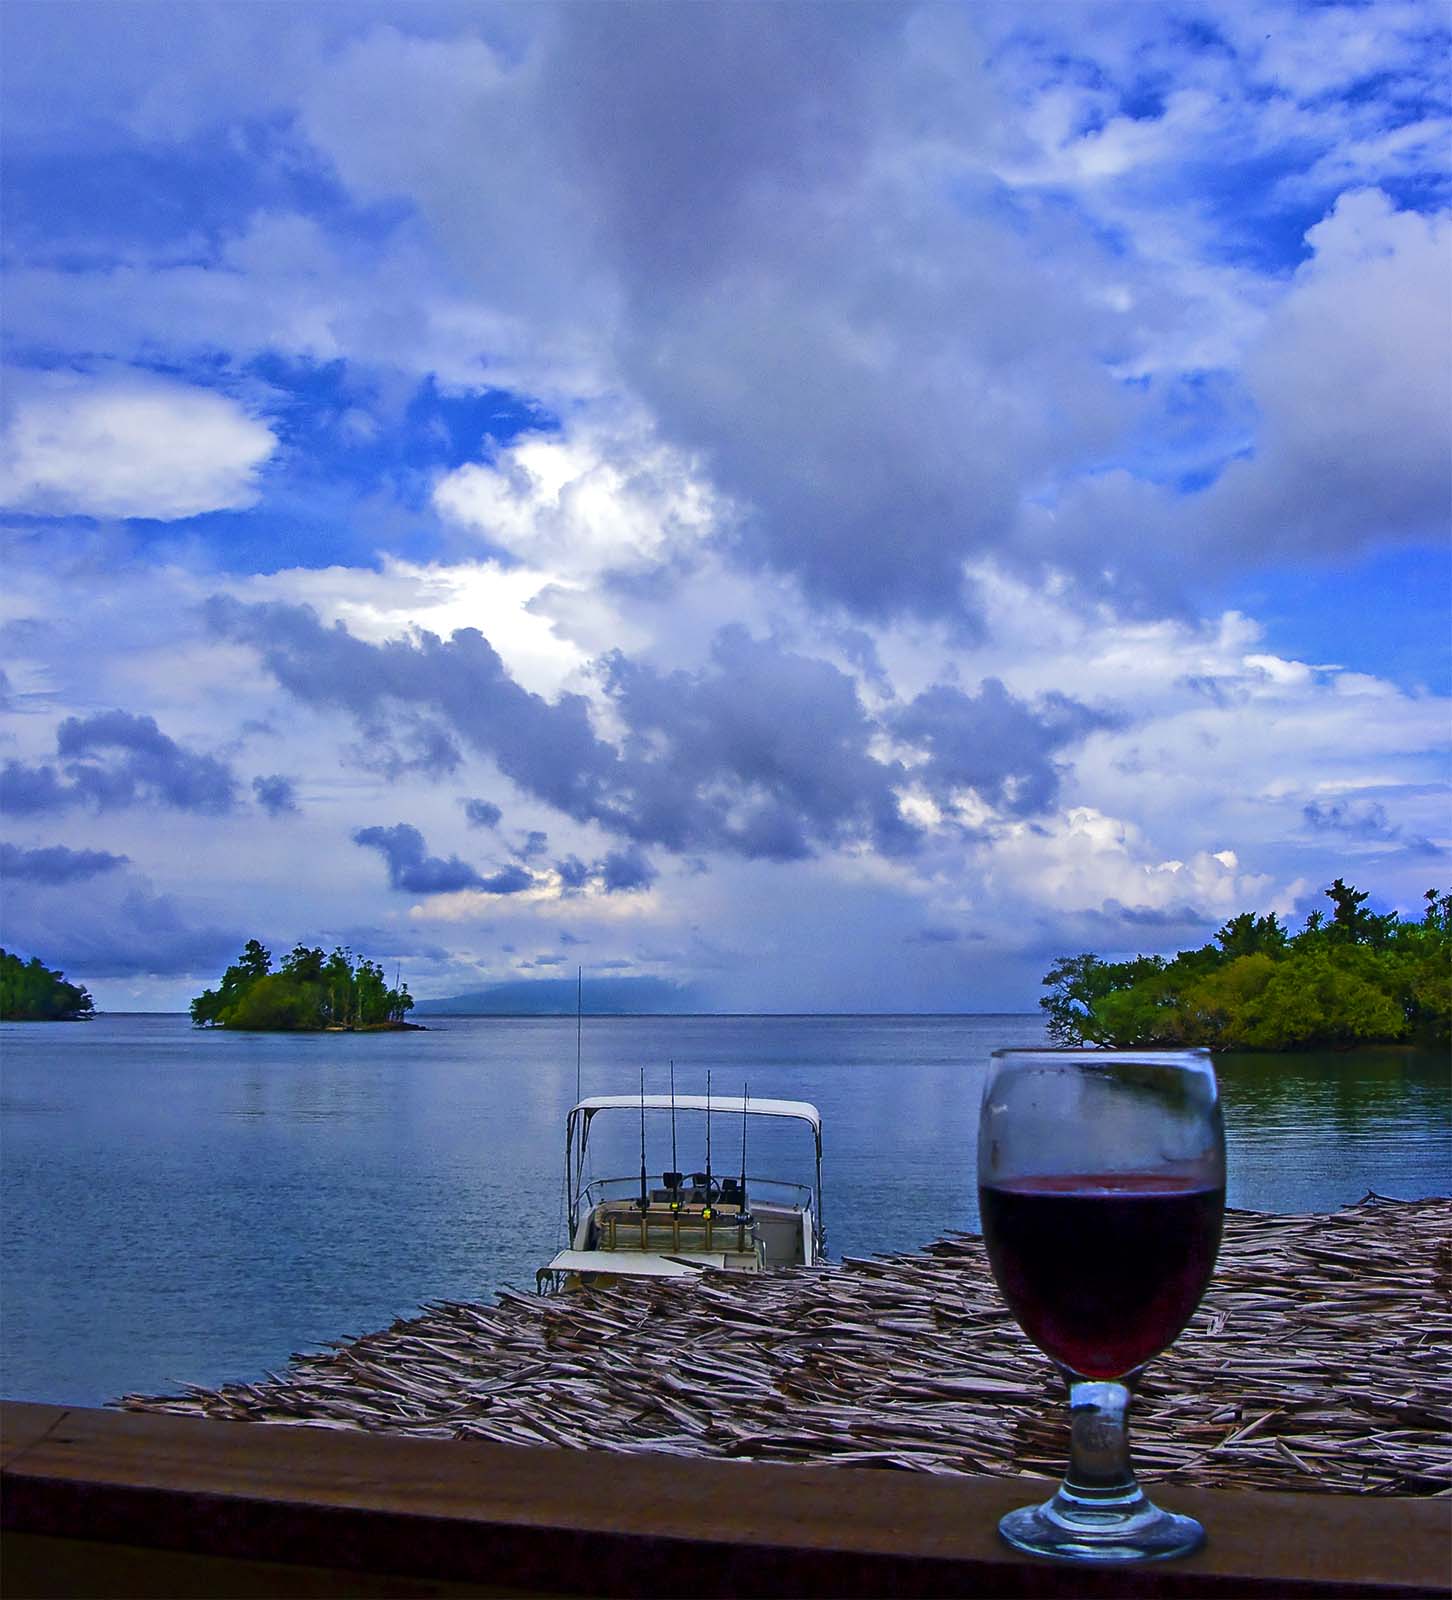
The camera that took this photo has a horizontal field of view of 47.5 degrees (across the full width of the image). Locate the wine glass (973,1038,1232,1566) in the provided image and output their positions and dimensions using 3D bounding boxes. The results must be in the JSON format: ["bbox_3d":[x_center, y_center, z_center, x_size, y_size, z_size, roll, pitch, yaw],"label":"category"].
[{"bbox_3d":[0.344,0.430,1.499,0.233,0.406,0.300,0,-5,8],"label":"wine glass"}]
